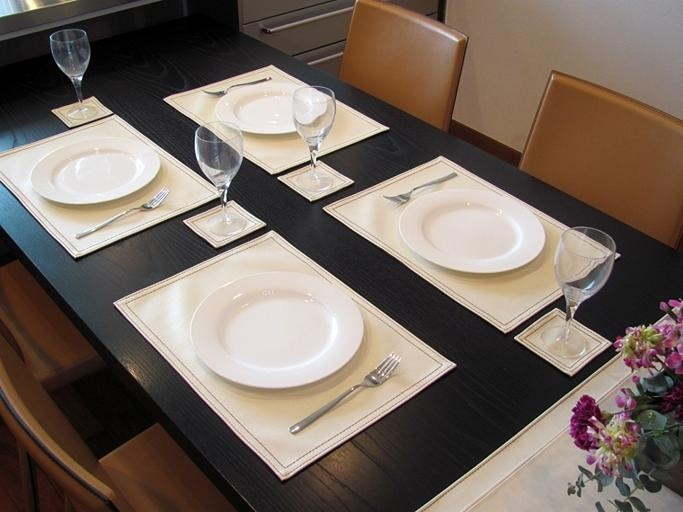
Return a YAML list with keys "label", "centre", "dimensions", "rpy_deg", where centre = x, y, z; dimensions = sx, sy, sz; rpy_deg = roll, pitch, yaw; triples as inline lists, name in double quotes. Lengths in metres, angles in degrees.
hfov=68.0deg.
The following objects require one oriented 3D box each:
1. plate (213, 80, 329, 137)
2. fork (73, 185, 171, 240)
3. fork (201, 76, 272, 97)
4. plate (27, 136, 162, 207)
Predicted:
- label: "plate"
  centre: [-0.228, -0.417, 1.429]
  dimensions: [0.243, 0.035, 0.250]
  rpy_deg: [-25, 51, -27]
- label: "fork"
  centre: [-0.483, -0.089, 1.107]
  dimensions: [0.162, 0.026, 0.027]
  rpy_deg: [-38, 60, -14]
- label: "fork"
  centre: [-0.311, -0.506, 1.515]
  dimensions: [0.185, 0.026, 0.035]
  rpy_deg: [-20, 55, -17]
- label: "plate"
  centre: [-0.581, -0.192, 1.187]
  dimensions: [0.201, 0.024, 0.205]
  rpy_deg: [-23, 52, -30]
